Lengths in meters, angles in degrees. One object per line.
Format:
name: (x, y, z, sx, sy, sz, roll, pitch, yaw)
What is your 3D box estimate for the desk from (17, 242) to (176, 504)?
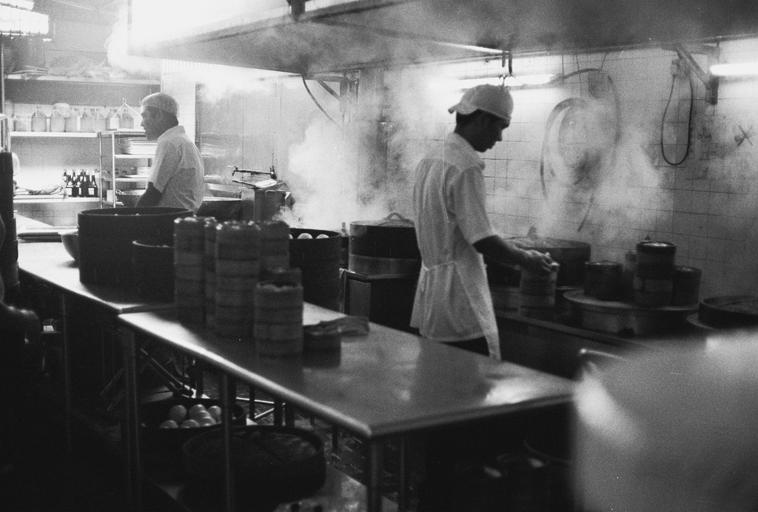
desk: (-1.513, 0.648, 3.606, 0.698, 0.652, 1.374, 0, 2, -34)

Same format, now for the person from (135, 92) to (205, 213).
person: (-1.471, -0.730, 4.759, 0.436, 0.853, 0.621, -1, 8, -16)

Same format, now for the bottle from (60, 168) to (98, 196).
bottle: (-3.805, -0.915, 8.542, 0.428, 0.397, 0.429, -2, 5, -39)

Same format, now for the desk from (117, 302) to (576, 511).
desk: (-0.122, 0.583, 2.439, 1.503, 0.527, 0.713, 6, 9, 32)

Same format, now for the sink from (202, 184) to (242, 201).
sink: (-1.737, -0.716, 7.462, 0.396, 0.140, 0.262, 0, 1, 17)

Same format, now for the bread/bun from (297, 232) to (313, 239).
bread/bun: (-0.375, -0.098, 3.412, 0.063, 0.019, 0.063, 4, 0, -13)

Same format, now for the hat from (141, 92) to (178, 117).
hat: (-1.589, -1.106, 4.864, 0.204, 0.120, 0.197, 14, 8, 29)

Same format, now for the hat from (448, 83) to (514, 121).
hat: (0.494, -0.730, 3.275, 0.255, 0.129, 0.184, 7, 11, -12)
